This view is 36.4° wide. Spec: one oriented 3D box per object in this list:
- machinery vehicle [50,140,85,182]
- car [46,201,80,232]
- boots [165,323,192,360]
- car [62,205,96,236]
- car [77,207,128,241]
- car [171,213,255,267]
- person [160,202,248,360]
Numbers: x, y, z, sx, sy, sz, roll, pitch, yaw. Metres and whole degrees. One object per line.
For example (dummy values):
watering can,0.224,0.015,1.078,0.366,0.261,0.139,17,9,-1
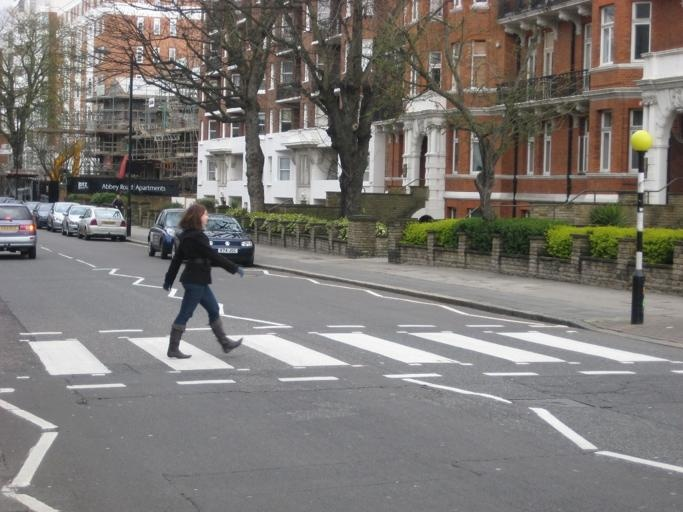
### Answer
machinery vehicle,-24.109,-9.353,91.799,1.893,1.863,5.127,10,-13,-30
car,-15.015,-2.212,55.893,1.100,1.075,2.546,0,0,-20
boots,-2.499,1.276,15.762,0.512,0.740,0.303,1,1,-13
car,-13.149,-1.877,51.526,1.085,1.096,2.362,0,-2,-21
car,-10.923,-1.546,47.513,1.117,1.043,2.735,0,7,-20
car,-3.468,-0.548,32.372,1.362,1.202,3.159,1,1,-24
person,-2.190,0.345,16.165,1.069,2.333,1.464,1,3,-10
